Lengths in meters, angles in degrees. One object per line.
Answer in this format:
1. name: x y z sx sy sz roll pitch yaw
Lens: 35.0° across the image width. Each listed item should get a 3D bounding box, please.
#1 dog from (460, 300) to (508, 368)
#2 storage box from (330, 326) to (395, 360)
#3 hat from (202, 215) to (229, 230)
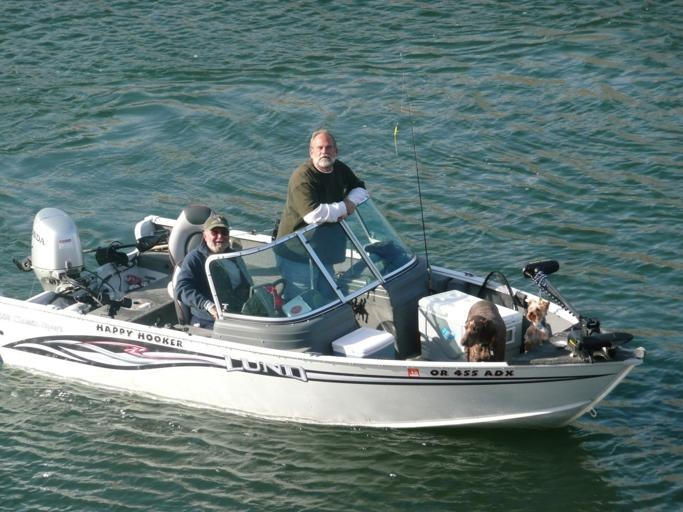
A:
1. dog: 1.816 1.121 14.484 0.692 0.647 1.212 -1 7 -4
2. storage box: 0.300 1.197 14.580 0.703 0.327 0.596 -13 22 -27
3. hat: -1.757 -0.467 15.009 0.413 0.140 0.496 0 1 -9
